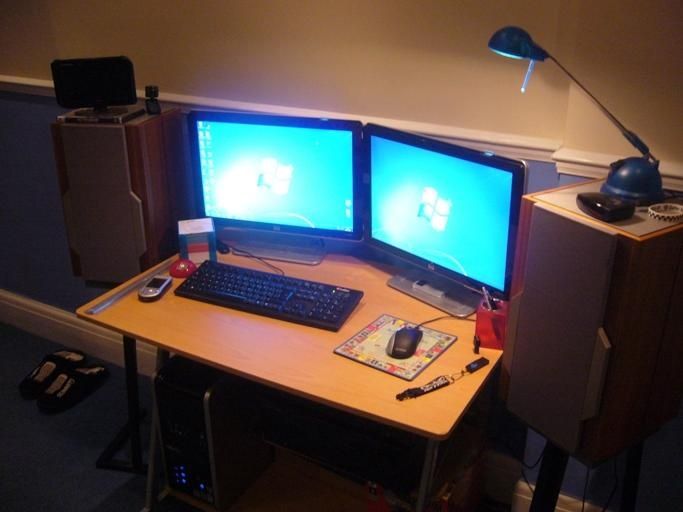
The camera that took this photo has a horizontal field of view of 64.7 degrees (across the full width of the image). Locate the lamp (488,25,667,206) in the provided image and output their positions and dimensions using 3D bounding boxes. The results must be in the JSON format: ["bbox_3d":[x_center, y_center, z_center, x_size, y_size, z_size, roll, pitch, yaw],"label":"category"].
[{"bbox_3d":[0.710,-0.416,1.612,0.507,0.548,0.233,-3,9,11],"label":"lamp"}]

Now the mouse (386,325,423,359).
[{"bbox_3d":[0.214,0.272,1.764,0.095,0.043,0.181,12,29,21],"label":"mouse"}]

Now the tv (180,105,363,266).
[{"bbox_3d":[-0.261,-0.281,2.137,0.590,0.468,0.179,7,24,14],"label":"tv"}]

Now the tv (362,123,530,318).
[{"bbox_3d":[0.380,-0.133,1.872,0.541,0.507,0.193,24,35,36],"label":"tv"}]

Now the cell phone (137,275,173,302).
[{"bbox_3d":[-0.695,0.108,2.010,0.064,0.024,0.122,13,30,9],"label":"cell phone"}]

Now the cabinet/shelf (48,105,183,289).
[{"bbox_3d":[-0.961,-0.211,2.367,0.481,0.710,0.477,-15,24,-37],"label":"cabinet/shelf"}]
